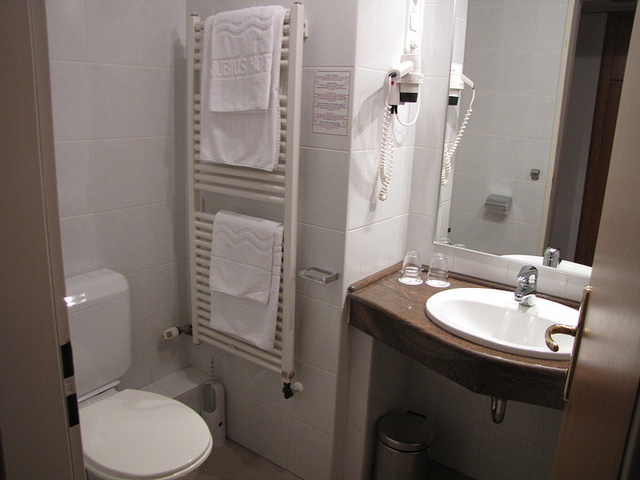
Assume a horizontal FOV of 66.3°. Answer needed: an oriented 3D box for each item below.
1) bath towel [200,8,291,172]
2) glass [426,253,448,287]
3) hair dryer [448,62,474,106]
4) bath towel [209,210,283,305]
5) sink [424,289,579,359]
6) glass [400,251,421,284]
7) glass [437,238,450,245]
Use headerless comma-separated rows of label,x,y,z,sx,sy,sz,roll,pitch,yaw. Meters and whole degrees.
bath towel,-0.266,-0.562,1.809,0.485,0.707,0.081,12,18,33
glass,0.480,0.125,1.993,0.083,0.129,0.080,13,18,33
hair dryer,0.565,-0.618,1.970,0.101,0.167,0.055,5,1,15
bath towel,-0.306,0.059,2.028,0.301,0.334,0.132,12,9,12
sink,0.620,0.301,1.759,0.514,0.131,0.441,14,22,29
glass,0.373,0.112,2.059,0.105,0.136,0.105,1,9,0
glass,0.532,0.004,2.097,0.026,0.027,0.027,8,17,27
